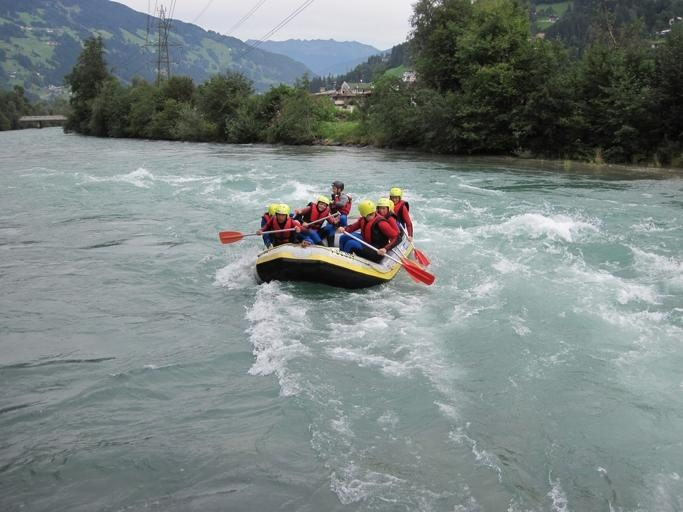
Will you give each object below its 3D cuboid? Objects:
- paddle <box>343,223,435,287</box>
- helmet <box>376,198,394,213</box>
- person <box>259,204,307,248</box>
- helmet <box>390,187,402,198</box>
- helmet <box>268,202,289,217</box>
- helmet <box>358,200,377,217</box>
[{"bbox_3d":[1.005,0.006,12.053,3.044,0.369,0.222,29,11,19],"label":"paddle"},{"bbox_3d":[0.982,-1.187,12.394,0.313,0.214,0.482,3,9,10],"label":"helmet"},{"bbox_3d":[-1.394,-0.735,12.586,1.160,1.419,1.052,0,14,0],"label":"person"},{"bbox_3d":[1.437,-1.688,13.946,0.345,0.352,0.411,2,-2,9],"label":"helmet"},{"bbox_3d":[-1.419,-1.086,12.336,0.309,0.183,0.387,8,9,8],"label":"helmet"},{"bbox_3d":[0.523,-1.058,12.082,0.464,0.328,0.313,-2,35,19],"label":"helmet"}]
